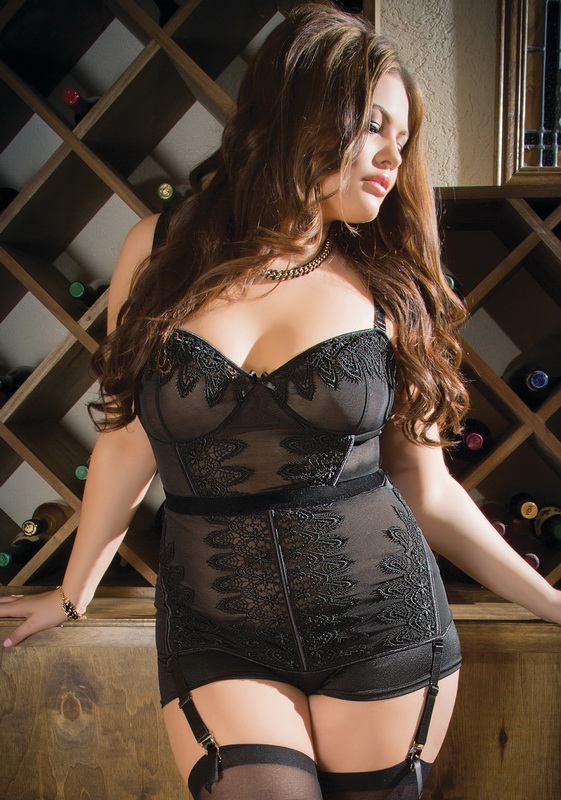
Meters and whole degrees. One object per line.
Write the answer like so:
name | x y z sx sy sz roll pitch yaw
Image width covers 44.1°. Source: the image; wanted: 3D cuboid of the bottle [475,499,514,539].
bottle | 0.634 0.349 2.020 0.121 0.106 0.033 6 -10 -10

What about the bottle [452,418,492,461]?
bottle | 0.561 0.124 1.991 0.170 0.148 0.037 -1 4 -2
